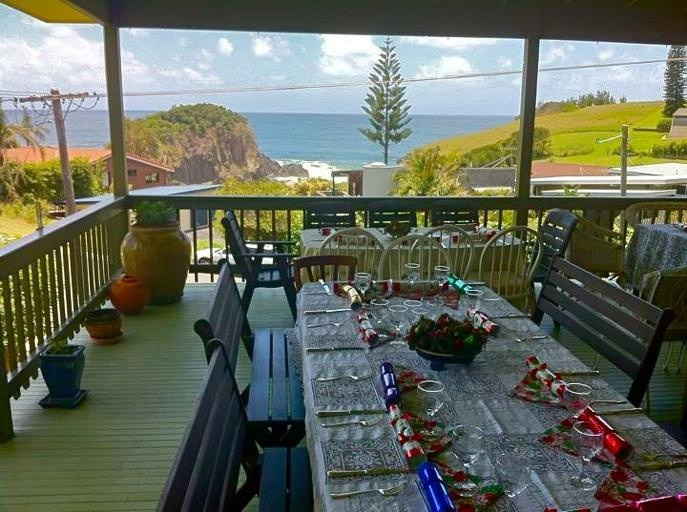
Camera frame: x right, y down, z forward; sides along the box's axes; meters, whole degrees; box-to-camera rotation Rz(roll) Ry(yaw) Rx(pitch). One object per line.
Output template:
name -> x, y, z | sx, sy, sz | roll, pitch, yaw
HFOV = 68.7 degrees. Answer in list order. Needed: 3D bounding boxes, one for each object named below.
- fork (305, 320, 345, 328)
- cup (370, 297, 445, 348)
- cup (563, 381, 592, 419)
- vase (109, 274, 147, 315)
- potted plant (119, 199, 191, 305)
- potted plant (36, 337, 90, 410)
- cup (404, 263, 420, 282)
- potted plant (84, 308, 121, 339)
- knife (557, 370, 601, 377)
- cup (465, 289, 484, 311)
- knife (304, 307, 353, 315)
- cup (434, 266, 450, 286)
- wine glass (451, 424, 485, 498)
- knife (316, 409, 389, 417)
fork -> -0.095, 0.343, 2.551 | 0.159, 0.030, 0.018 | -4, 0, 12
cup -> 0.270, 0.311, 2.506 | 0.244, 0.134, 0.253 | 0, 4, 0
cup -> 0.832, 0.509, 1.800 | 0.085, 0.095, 0.123 | 5, 16, 25
vase -> -1.933, 0.337, 4.671 | 0.323, 0.377, 0.336 | 3, 8, -8
potted plant -> -1.840, -0.068, 4.986 | 0.613, 0.941, 0.626 | -2, 5, -16
potted plant -> -1.790, 0.767, 3.307 | 0.322, 0.461, 0.368 | 1, 5, -7
cup -> 0.405, 0.090, 3.035 | 0.114, 0.126, 0.117 | 0, 12, 0
potted plant -> -1.985, 0.568, 4.159 | 0.300, 0.222, 0.298 | 12, 13, 37
knife -> 0.969, 0.486, 2.093 | 0.115, 0.019, 0.018 | 0, 31, 0
cup -> 0.691, 0.225, 2.668 | 0.102, 0.122, 0.104 | 0, 8, 0
knife -> -0.083, 0.293, 2.709 | 0.238, 0.019, 0.026 | -2, 3, -8
cup -> 0.596, 0.111, 2.968 | 0.102, 0.124, 0.106 | 0, 6, 0
wine glass -> 0.382, 0.612, 1.558 | 0.091, 0.151, 0.155 | 1, 15, 13
knife -> 0.027, 0.569, 1.842 | 0.261, 0.017, 0.037 | -3, 14, -4
